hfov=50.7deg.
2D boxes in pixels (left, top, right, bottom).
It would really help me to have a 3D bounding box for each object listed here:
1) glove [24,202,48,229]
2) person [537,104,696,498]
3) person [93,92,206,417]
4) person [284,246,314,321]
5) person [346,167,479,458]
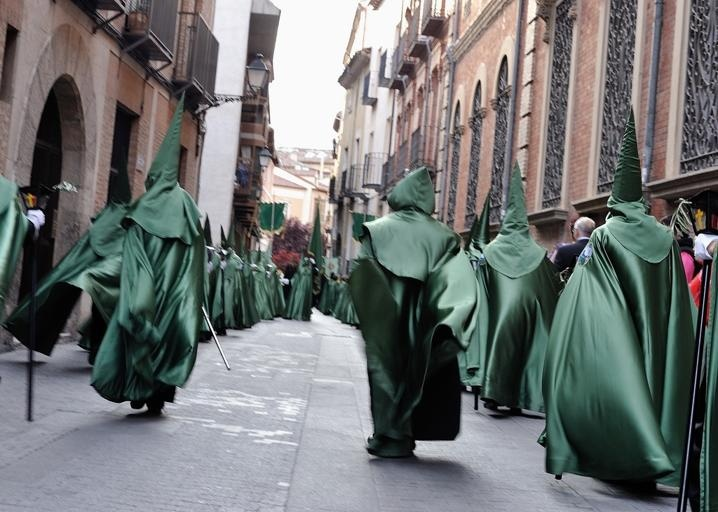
[{"bbox_3d":[-3.113,-0.386,7.339,0.222,0.092,0.171,40,30,26],"label":"glove"},{"bbox_3d":[2.389,0.331,6.882,1.235,3.059,1.001,4,-1,24],"label":"person"},{"bbox_3d":[-2.190,-0.091,8.353,1.009,3.532,1.101,5,-1,-12],"label":"person"},{"bbox_3d":[-2.142,1.222,28.307,0.884,2.435,1.331,5,-1,-4],"label":"person"},{"bbox_3d":[0.590,0.523,7.315,1.352,2.723,0.824,4,-1,37],"label":"person"}]
